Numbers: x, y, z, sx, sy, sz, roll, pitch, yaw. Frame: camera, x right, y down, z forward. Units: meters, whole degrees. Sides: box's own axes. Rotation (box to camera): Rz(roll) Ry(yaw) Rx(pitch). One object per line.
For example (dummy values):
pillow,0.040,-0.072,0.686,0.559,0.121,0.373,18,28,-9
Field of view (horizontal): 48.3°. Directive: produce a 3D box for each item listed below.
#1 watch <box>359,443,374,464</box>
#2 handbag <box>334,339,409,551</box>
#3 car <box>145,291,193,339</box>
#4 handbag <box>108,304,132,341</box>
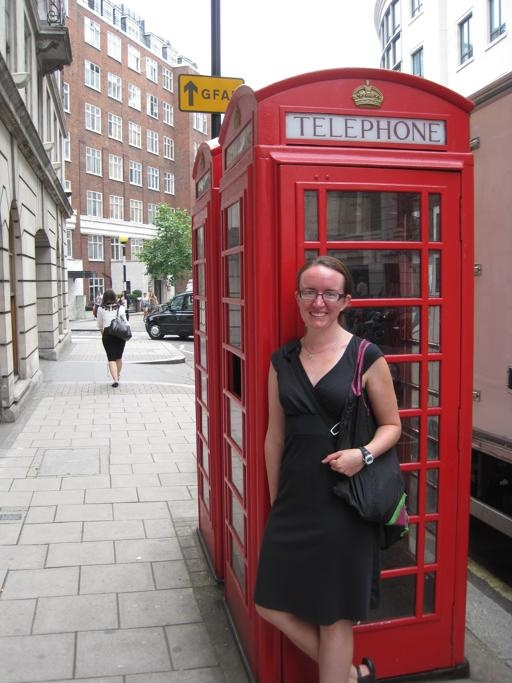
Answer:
watch,0.328,0.342,1.698,0.031,0.054,0.053,-24,4,4
handbag,0.366,0.331,1.793,0.161,0.669,0.298,2,2,40
car,-3.611,-1.266,25.159,3.085,2.178,1.970,1,-1,6
handbag,-2.767,-0.378,11.539,0.396,0.701,0.438,0,1,-15
